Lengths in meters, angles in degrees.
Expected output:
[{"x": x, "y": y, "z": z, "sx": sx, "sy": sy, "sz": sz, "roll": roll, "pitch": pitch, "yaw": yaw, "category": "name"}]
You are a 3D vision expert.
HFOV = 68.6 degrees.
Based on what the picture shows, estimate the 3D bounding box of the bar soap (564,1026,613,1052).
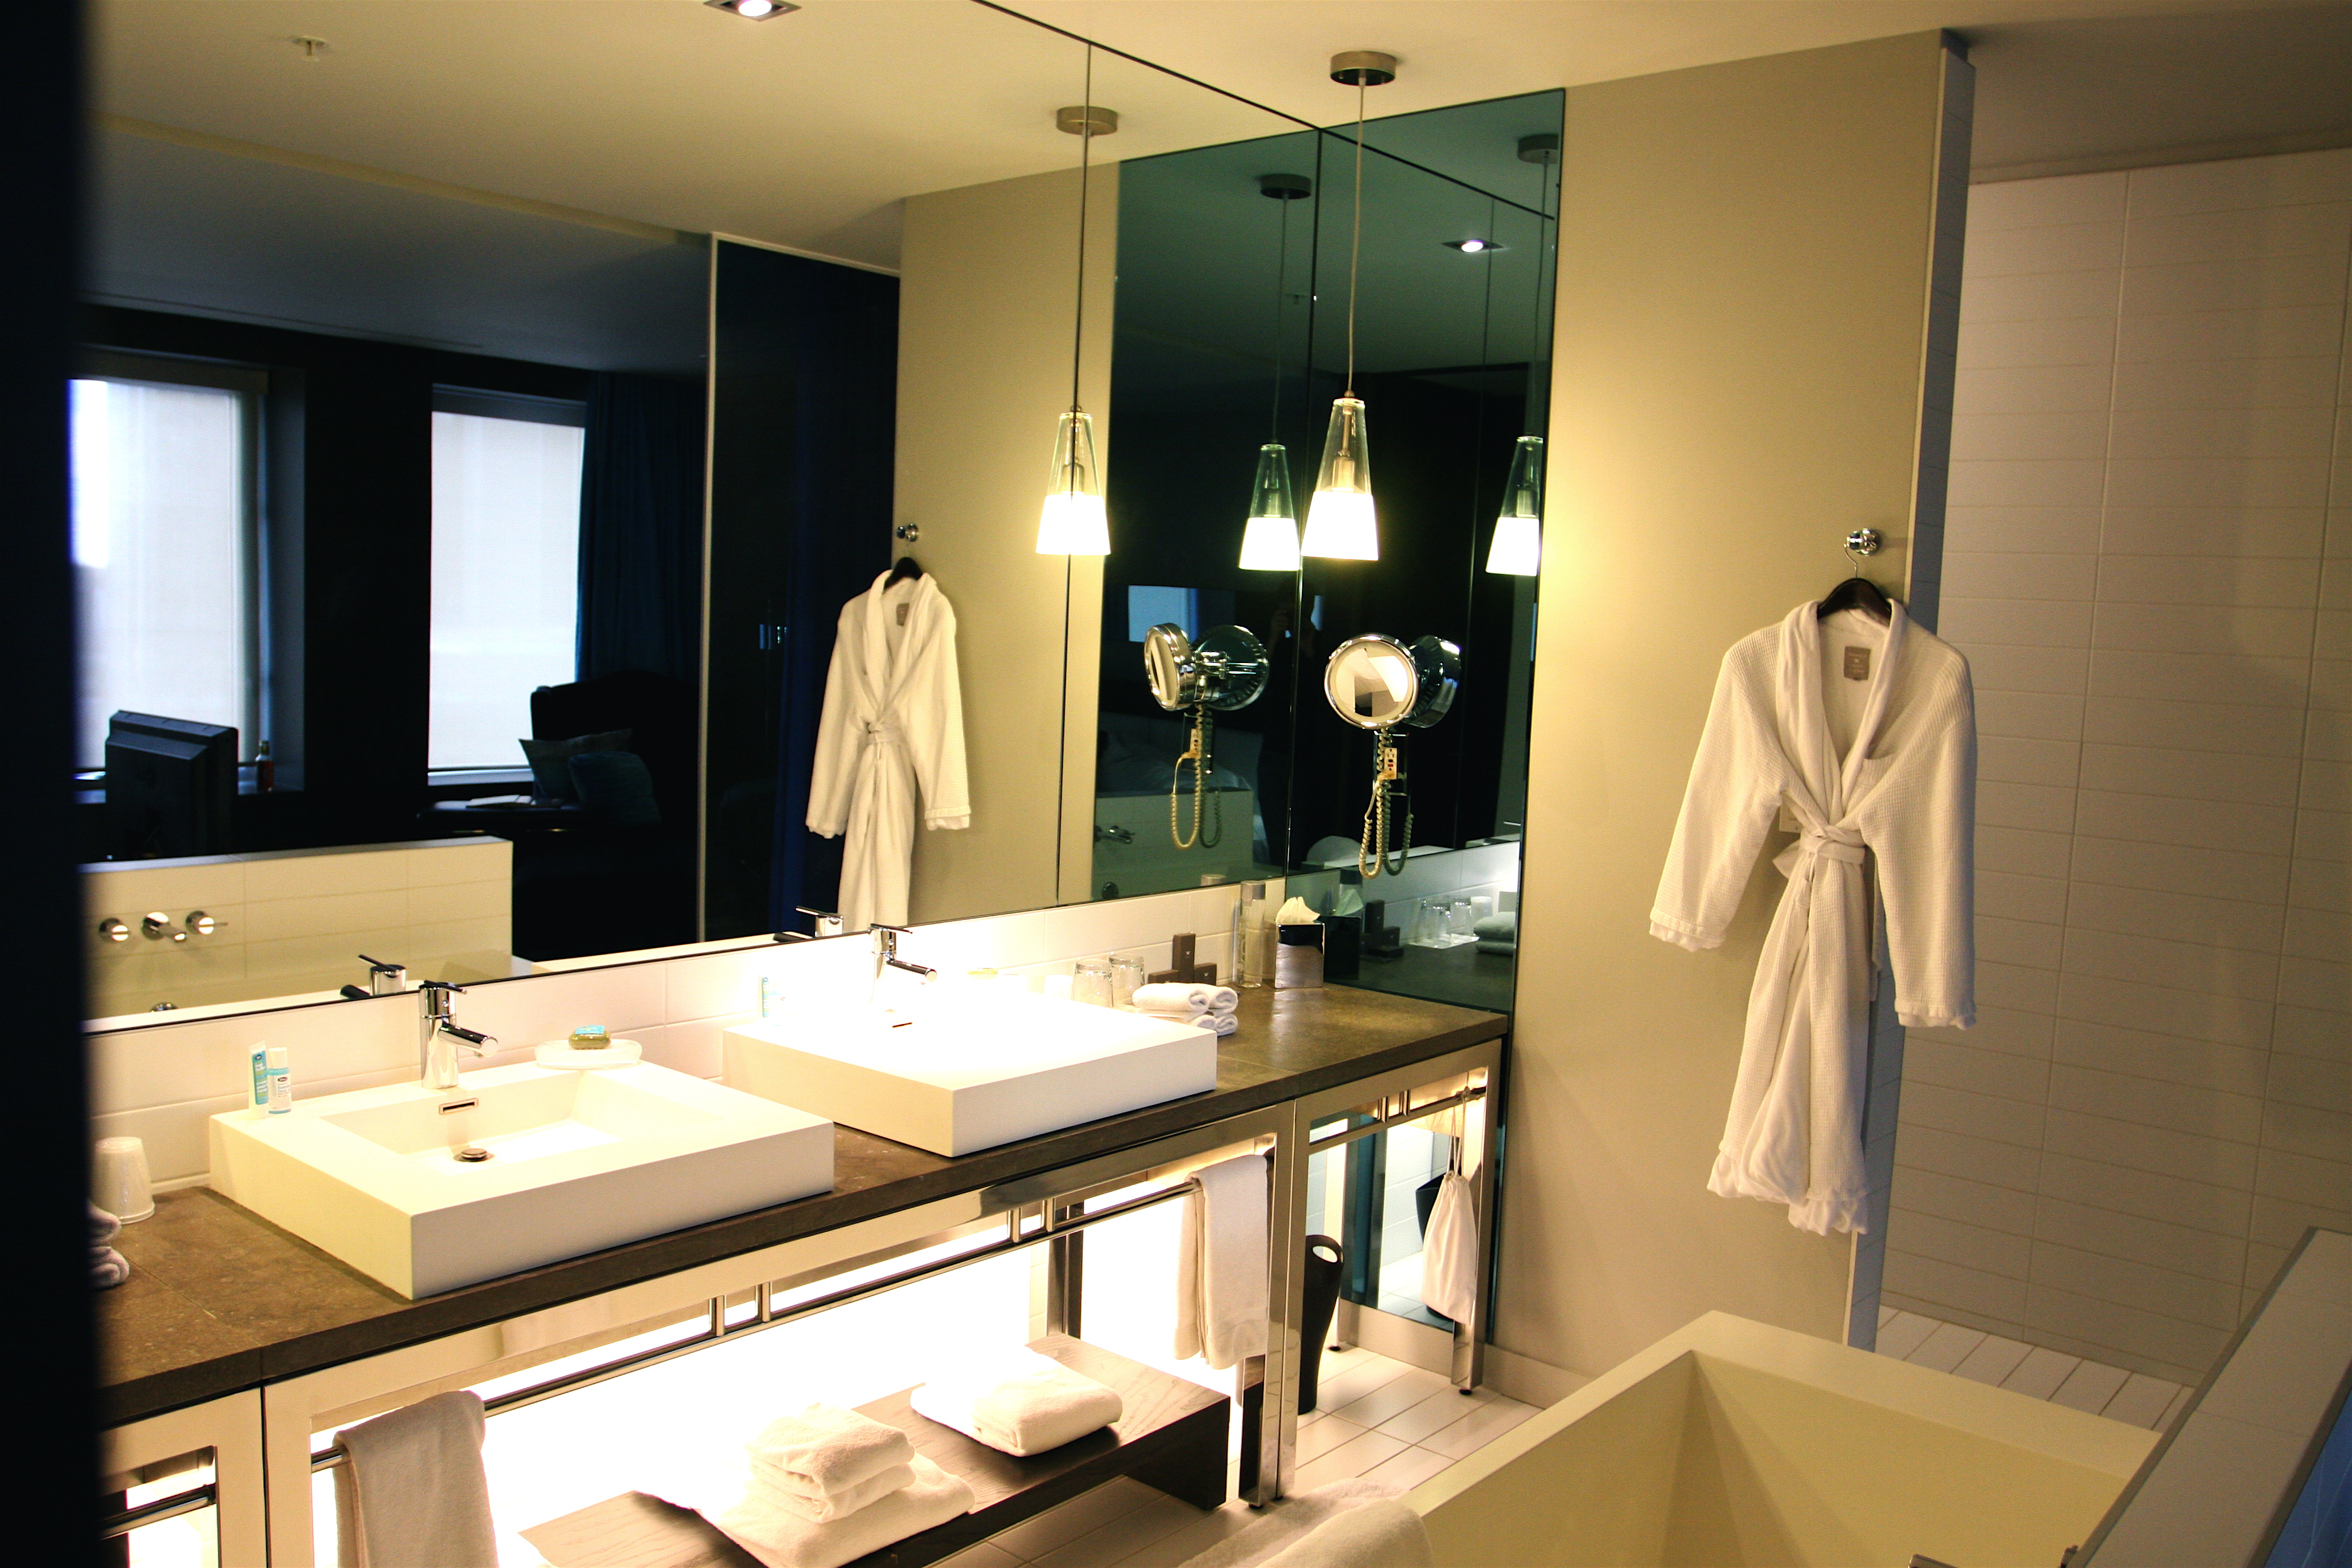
[{"x": -1.131, "y": 0.489, "z": 3.332, "sx": 0.079, "sy": 0.028, "sz": 0.071, "roll": -4, "pitch": 8, "yaw": -24, "category": "bar soap"}]

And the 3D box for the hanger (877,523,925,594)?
[{"x": -0.646, "y": -0.529, "z": 4.034, "sx": 0.038, "sy": 0.215, "sz": 0.150, "roll": 7, "pitch": 9, "yaw": 37, "category": "hanger"}]

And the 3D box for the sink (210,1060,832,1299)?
[{"x": -1.159, "y": 0.654, "z": 3.090, "sx": 0.921, "sy": 0.204, "sz": 0.626, "roll": -7, "pitch": 9, "yaw": -38, "category": "sink"}]

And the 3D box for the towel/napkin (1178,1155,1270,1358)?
[{"x": 0.122, "y": 1.093, "z": 3.947, "sx": 0.100, "sy": 0.497, "sz": 0.306, "roll": 6, "pitch": 10, "yaw": 43, "category": "towel/napkin"}]

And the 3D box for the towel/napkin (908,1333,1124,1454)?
[{"x": -0.313, "y": 1.304, "z": 3.658, "sx": 0.226, "sy": 0.072, "sz": 0.229, "roll": -4, "pitch": 8, "yaw": -36, "category": "towel/napkin"}]

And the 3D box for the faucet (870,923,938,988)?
[{"x": -0.638, "y": 0.386, "z": 3.923, "sx": 0.075, "sy": 0.161, "sz": 0.241, "roll": -3, "pitch": 3, "yaw": -39, "category": "faucet"}]

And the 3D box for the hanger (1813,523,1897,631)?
[{"x": 1.610, "y": -0.482, "z": 4.057, "sx": 0.038, "sy": 0.293, "sz": 0.210, "roll": -9, "pitch": 16, "yaw": -43, "category": "hanger"}]

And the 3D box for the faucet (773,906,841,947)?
[{"x": -0.826, "y": 0.320, "z": 3.878, "sx": 0.048, "sy": 0.061, "sz": 0.148, "roll": 1, "pitch": -1, "yaw": 36, "category": "faucet"}]

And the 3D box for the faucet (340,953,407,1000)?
[{"x": -1.512, "y": 0.372, "z": 3.266, "sx": 0.111, "sy": 0.072, "sz": 0.053, "roll": -1, "pitch": 1, "yaw": 44, "category": "faucet"}]

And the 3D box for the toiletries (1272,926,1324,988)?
[{"x": 0.340, "y": 0.469, "z": 4.716, "sx": 0.145, "sy": 0.170, "sz": 0.145, "roll": 2, "pitch": 0, "yaw": -30, "category": "toiletries"}]

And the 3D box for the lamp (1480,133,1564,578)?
[{"x": 0.916, "y": -1.112, "z": 4.560, "sx": 0.177, "sy": 1.153, "sz": 0.062, "roll": 4, "pitch": 9, "yaw": 38, "category": "lamp"}]
